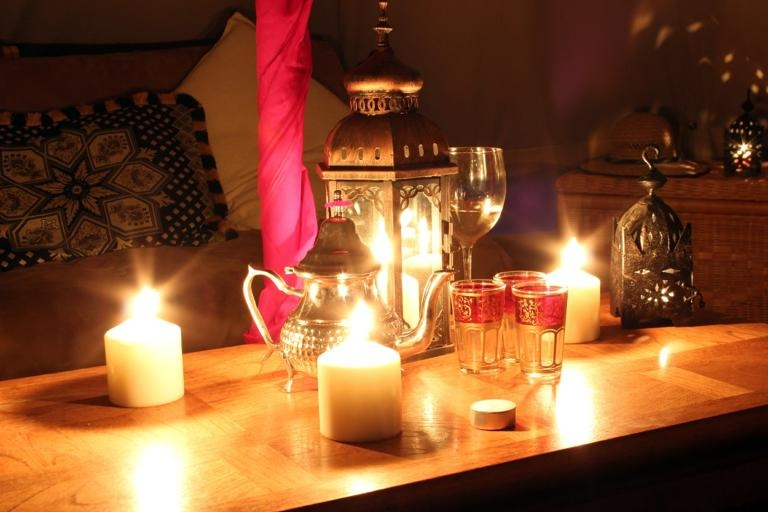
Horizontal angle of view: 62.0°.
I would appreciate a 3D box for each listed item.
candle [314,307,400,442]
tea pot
[{"bbox_3d":[-0.034,0.156,0.867,0.112,0.169,0.107,-4,3,-31],"label":"candle"},{"bbox_3d":[-0.076,0.050,0.981,0.312,0.308,0.200,-2,2,22],"label":"tea pot"}]
